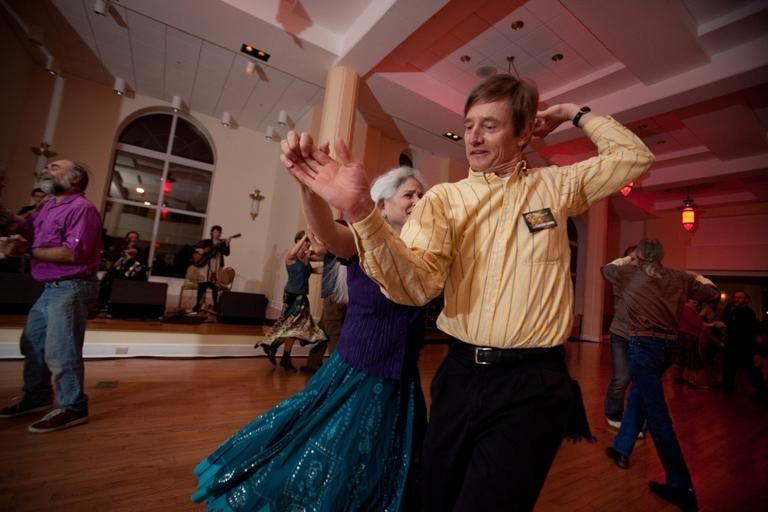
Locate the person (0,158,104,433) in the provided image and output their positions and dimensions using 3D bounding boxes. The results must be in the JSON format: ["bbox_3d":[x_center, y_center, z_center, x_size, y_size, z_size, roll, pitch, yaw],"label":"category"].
[{"bbox_3d":[-3.039,0.347,3.921,0.671,2.469,0.483,0,-5,24],"label":"person"}]

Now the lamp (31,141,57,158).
[{"bbox_3d":[-5.723,-1.789,7.077,0.345,0.213,0.371,3,-8,-26],"label":"lamp"}]

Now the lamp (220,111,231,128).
[{"bbox_3d":[-3.165,-2.743,8.415,0.238,0.280,0.244,-8,-27,0],"label":"lamp"}]

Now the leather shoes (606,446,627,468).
[{"bbox_3d":[2.253,1.943,4.087,0.075,0.138,0.193,-29,9,-1],"label":"leather shoes"}]

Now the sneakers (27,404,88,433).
[{"bbox_3d":[-2.946,1.475,3.842,0.437,0.180,0.174,8,-8,-37],"label":"sneakers"}]

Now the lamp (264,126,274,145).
[{"bbox_3d":[-2.420,-2.544,8.817,0.193,0.330,0.202,19,-33,-17],"label":"lamp"}]
